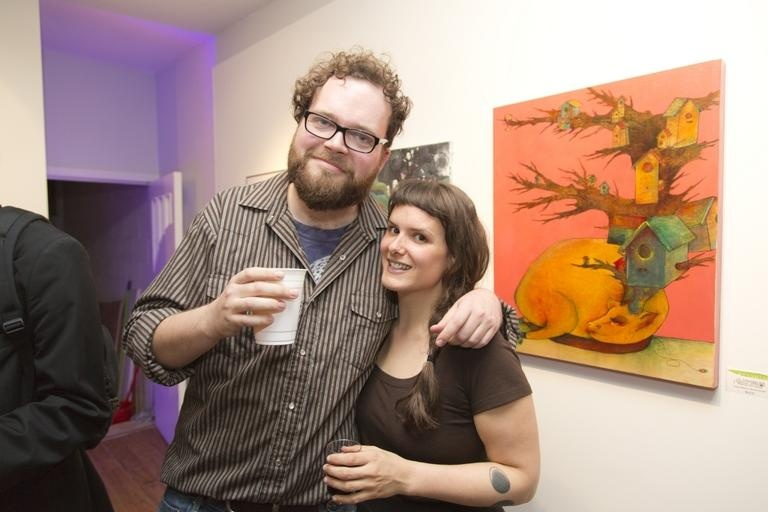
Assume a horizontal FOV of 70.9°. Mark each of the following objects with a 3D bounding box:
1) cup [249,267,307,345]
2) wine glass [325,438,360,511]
[{"bbox_3d":[-0.366,0.187,2.160,0.253,0.293,0.261,2,1,0],"label":"cup"},{"bbox_3d":[-0.169,0.859,2.147,0.116,0.312,0.197,3,8,-3],"label":"wine glass"}]
